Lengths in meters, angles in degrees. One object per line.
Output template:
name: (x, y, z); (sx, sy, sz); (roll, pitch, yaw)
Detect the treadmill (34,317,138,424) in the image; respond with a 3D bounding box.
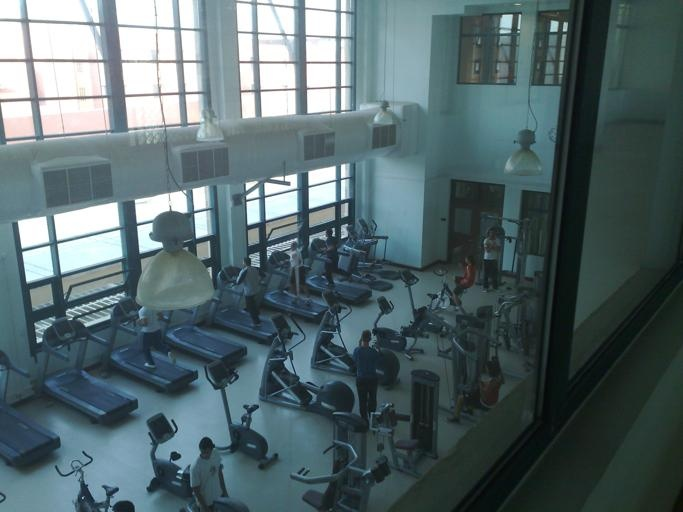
treadmill: (-3.504, 1.529, 7.881); (1.329, 1.062, 0.633); (14, 16, 28)

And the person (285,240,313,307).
person: (-0.847, 0.278, 11.143); (0.401, 1.168, 0.451); (-7, 18, -41)

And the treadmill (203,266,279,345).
treadmill: (-1.693, 0.812, 10.152); (1.339, 1.111, 0.663); (11, 15, 31)

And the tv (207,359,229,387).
tv: (-1.465, 1.385, 6.780); (0.276, 0.293, 0.096); (-17, 5, -43)

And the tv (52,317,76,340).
tv: (-3.768, 0.976, 7.884); (0.248, 0.260, 0.256); (21, 28, 36)

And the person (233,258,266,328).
person: (-1.653, 0.558, 10.198); (0.434, 1.217, 0.761); (-6, 19, -8)

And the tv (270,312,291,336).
tv: (-0.863, 0.992, 7.942); (0.220, 0.076, 0.387); (-15, 63, -40)

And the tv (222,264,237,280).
tv: (-1.940, 0.276, 10.033); (0.195, 0.198, 0.231); (12, 33, 20)

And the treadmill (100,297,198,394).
treadmill: (-2.855, 1.281, 8.591); (1.362, 1.105, 0.620); (10, 15, 31)

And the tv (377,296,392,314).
tv: (0.654, 0.798, 9.175); (0.232, 0.315, 0.107); (-8, -10, -34)

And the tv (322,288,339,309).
tv: (-0.168, 0.634, 8.518); (0.200, 0.345, 0.080); (-21, -11, -15)
